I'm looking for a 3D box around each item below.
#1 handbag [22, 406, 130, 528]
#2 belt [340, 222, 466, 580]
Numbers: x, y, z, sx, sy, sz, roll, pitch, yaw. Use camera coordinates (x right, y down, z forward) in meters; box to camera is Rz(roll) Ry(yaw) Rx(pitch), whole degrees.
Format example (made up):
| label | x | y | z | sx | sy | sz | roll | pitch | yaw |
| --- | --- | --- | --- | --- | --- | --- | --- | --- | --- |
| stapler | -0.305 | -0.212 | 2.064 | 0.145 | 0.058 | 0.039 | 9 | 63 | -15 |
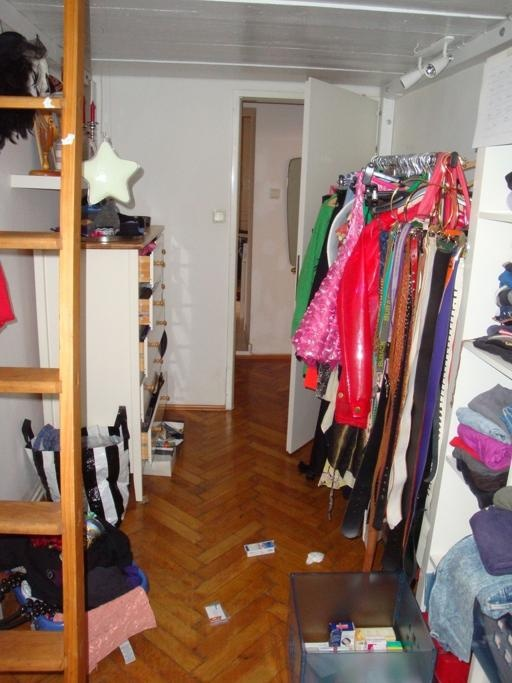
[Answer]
| label | x | y | z | sx | sy | sz | roll | pitch | yaw |
| --- | --- | --- | --- | --- | --- | --- | --- | --- | --- |
| handbag | -0.747 | 0.578 | 2.332 | 0.485 | 0.623 | 0.345 | -6 | -16 | 26 |
| belt | 0.431 | 0.146 | 1.553 | 0.215 | 0.960 | 0.224 | 10 | -20 | 11 |
